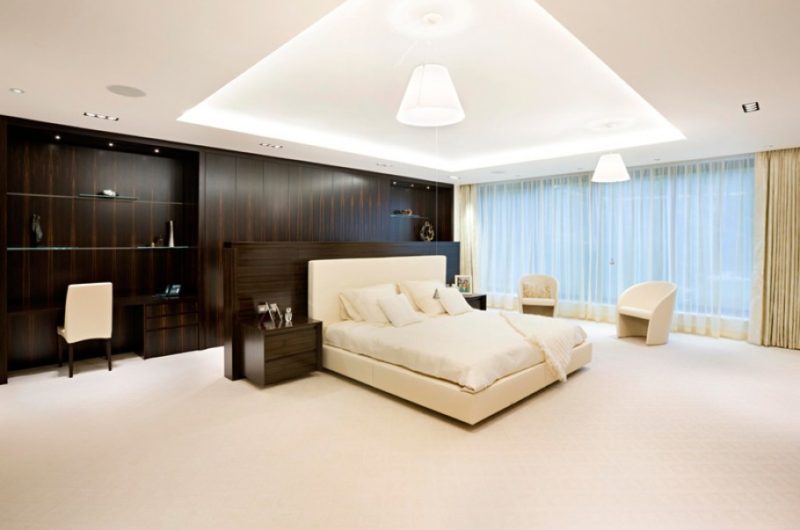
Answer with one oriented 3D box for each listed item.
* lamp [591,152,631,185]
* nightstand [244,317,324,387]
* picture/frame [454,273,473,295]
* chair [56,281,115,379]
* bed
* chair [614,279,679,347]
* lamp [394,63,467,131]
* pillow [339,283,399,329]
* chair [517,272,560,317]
[{"bbox_3d":[2.805,-1.263,6.566,0.512,0.390,0.517,3,4,35],"label":"lamp"},{"bbox_3d":[-1.394,0.969,5.651,0.611,0.827,1.059,-1,-1,40],"label":"nightstand"},{"bbox_3d":[1.033,0.330,8.007,0.354,0.499,0.057,-2,-23,13],"label":"picture/frame"},{"bbox_3d":[-3.747,0.746,5.790,0.580,1.064,0.524,-5,5,-35],"label":"chair"},{"bbox_3d":[0.317,0.856,5.564,2.217,1.175,2.221,0,1,44],"label":"bed"},{"bbox_3d":[3.637,0.674,7.036,0.689,0.868,0.642,-2,5,-17],"label":"chair"},{"bbox_3d":[0.292,-1.481,4.448,0.606,0.389,0.567,-1,1,-21],"label":"lamp"},{"bbox_3d":[-0.385,0.491,6.101,0.398,0.290,0.828,26,12,32],"label":"pillow"},{"bbox_3d":[2.245,0.522,8.021,0.686,0.823,0.715,2,-4,-9],"label":"chair"}]
